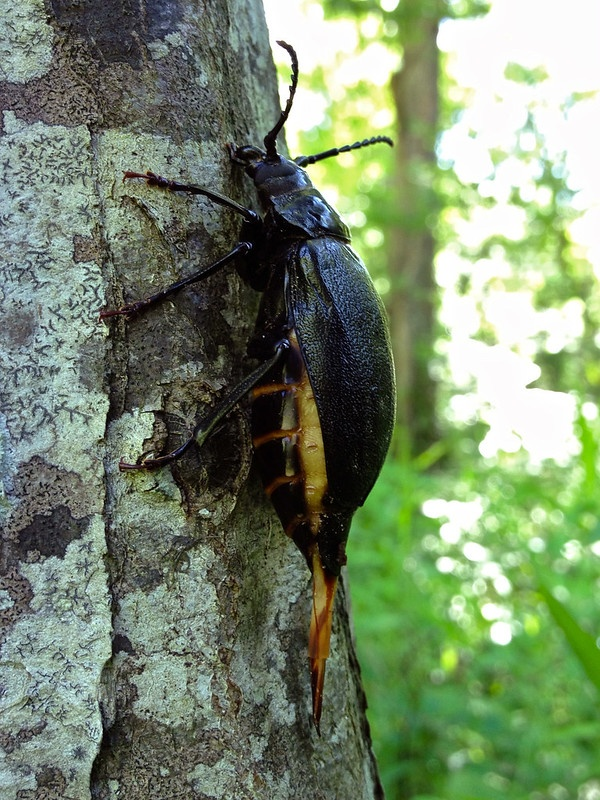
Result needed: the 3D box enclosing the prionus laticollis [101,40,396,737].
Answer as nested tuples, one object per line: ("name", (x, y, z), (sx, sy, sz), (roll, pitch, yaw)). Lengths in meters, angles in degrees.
("prionus laticollis", (-0.016, 0.036, 2.473), (0.524, 1.434, 1.095), (-8, -16, 13))
